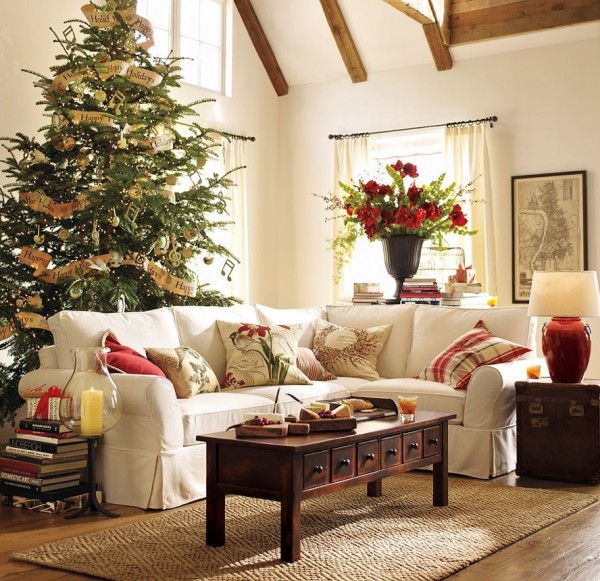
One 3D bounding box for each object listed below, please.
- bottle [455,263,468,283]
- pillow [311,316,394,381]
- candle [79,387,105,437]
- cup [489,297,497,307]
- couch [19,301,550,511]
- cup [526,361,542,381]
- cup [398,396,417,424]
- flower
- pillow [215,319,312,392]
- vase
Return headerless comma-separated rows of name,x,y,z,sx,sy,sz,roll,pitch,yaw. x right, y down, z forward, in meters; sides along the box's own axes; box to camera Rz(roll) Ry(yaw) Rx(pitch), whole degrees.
bottle,1.252,-0.131,4.332,0.091,0.144,0.281,-1,1,16
pillow,0.356,0.422,4.011,0.675,0.412,0.261,1,0,45
candle,-0.858,0.500,2.307,0.094,0.200,0.036,-3,2,-20
cup,1.563,0.091,4.519,0.108,0.082,0.086,-1,-1,15
couch,-0.192,0.560,2.872,1.468,0.561,1.855,-7,-8,41
cup,1.407,0.485,3.357,0.101,0.090,0.099,0,-5,0
cup,0.497,0.538,2.514,0.119,0.105,0.109,0,-8,0
flower,0.803,-0.664,4.793,1.422,0.760,1.225,-1,-2,-10
pillow,-0.247,0.383,3.511,0.611,0.361,0.245,0,8,-26
vase,0.784,-0.185,4.458,0.553,0.620,0.506,2,-6,1
